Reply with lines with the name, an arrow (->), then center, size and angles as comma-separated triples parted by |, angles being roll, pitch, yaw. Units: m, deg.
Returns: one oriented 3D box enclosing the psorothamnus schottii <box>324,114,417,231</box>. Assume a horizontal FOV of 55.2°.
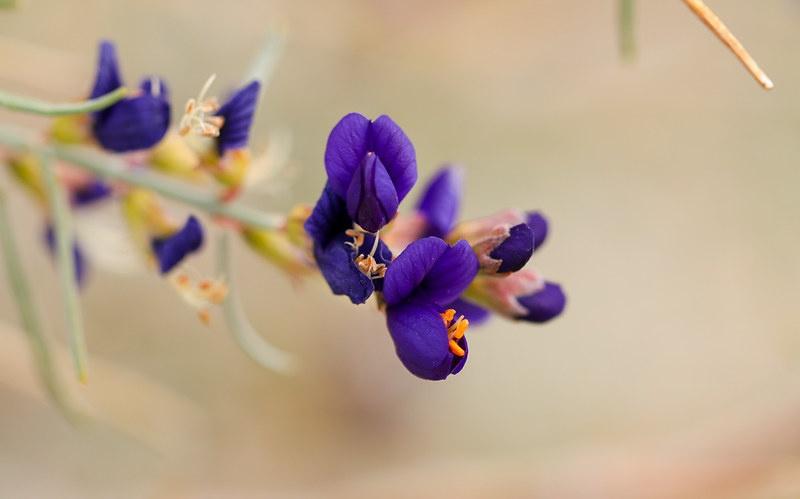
psorothamnus schottii -> -0.039, -0.134, 1.225 | 0.161, 0.244, 0.115 | 4, -50, -5
